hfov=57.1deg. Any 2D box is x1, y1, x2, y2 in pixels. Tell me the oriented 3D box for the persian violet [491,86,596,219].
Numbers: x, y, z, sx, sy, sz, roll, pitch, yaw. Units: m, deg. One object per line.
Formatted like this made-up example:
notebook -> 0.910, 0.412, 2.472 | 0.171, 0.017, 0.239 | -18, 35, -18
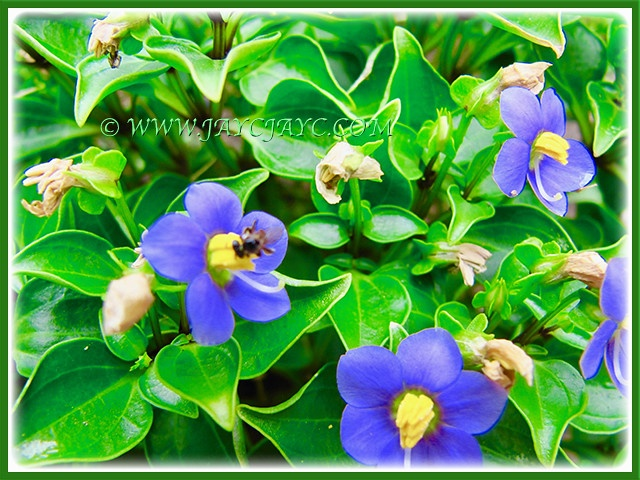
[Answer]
persian violet -> 0.583, -0.223, 1.638 | 0.109, 0.339, 0.341 | 3, 53, 51
